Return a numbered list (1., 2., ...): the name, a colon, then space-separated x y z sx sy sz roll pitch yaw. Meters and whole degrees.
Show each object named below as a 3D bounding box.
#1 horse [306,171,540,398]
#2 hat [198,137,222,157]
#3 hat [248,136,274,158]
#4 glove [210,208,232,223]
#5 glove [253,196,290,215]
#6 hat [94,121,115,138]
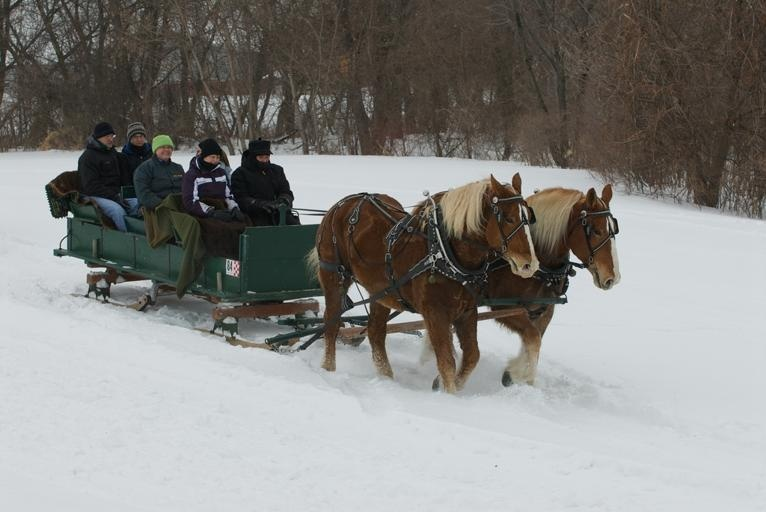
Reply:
1. horse: 0.509 0.526 17.122 1.419 3.447 4.851 -2 4 -42
2. hat: -2.943 -1.860 18.739 0.337 0.287 0.260 14 15 35
3. hat: -2.115 -1.884 18.862 0.283 0.249 0.365 -1 0 -30
4. glove: -2.643 -0.680 18.252 0.224 0.101 0.231 11 20 9
5. glove: -1.829 -0.882 18.688 0.340 0.151 0.423 6 13 34
6. hat: -5.040 -2.284 20.030 0.297 0.248 0.306 3 5 11
